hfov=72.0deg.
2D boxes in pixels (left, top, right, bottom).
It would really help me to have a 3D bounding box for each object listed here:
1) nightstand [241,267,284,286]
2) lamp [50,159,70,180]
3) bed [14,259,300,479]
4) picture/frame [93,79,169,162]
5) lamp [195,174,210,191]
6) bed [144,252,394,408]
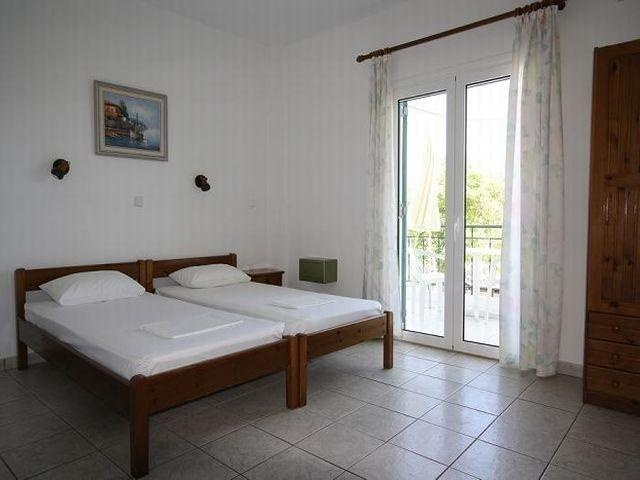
[{"bbox_3d":[-0.732,0.459,5.672,0.251,0.353,0.358,2,4,38],"label":"nightstand"},{"bbox_3d":[-2.558,-0.708,4.348,0.167,0.188,0.065,8,-4,-26],"label":"lamp"},{"bbox_3d":[-1.434,0.915,3.576,1.614,0.856,1.737,-4,5,-43],"label":"bed"},{"bbox_3d":[-2.097,-1.318,4.814,0.945,0.960,0.063,-3,2,-45],"label":"picture/frame"},{"bbox_3d":[-1.423,-0.700,5.382,0.206,0.215,0.124,-6,10,-35],"label":"lamp"},{"bbox_3d":[-0.687,0.762,4.767,1.421,1.060,2.633,-3,4,-45],"label":"bed"}]
